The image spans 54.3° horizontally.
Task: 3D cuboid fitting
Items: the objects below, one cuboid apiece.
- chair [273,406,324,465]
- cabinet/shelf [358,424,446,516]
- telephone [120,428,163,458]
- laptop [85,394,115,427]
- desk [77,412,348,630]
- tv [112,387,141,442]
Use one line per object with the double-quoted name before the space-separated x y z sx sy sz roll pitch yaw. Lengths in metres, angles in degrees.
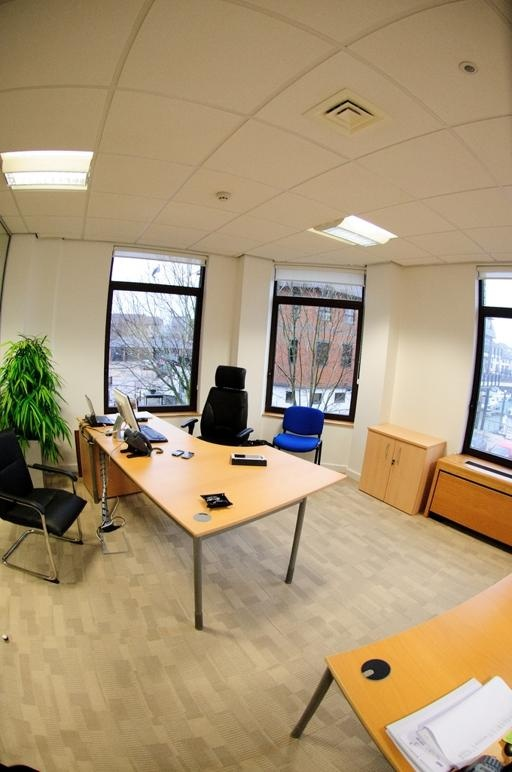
"chair" 0.408 0.657 5.515 0.562 0.819 0.483 6 10 10
"cabinet/shelf" 1.388 0.841 4.884 0.414 0.769 0.654 6 8 -34
"telephone" -0.834 0.416 3.623 0.241 0.119 0.174 0 1 -31
"laptop" -1.367 0.163 4.379 0.223 0.273 0.391 -3 7 -29
"desk" -0.229 0.603 3.247 0.979 0.899 1.786 -4 16 -40
"tv" -1.068 0.244 4.120 0.084 0.272 0.373 -17 15 -23
